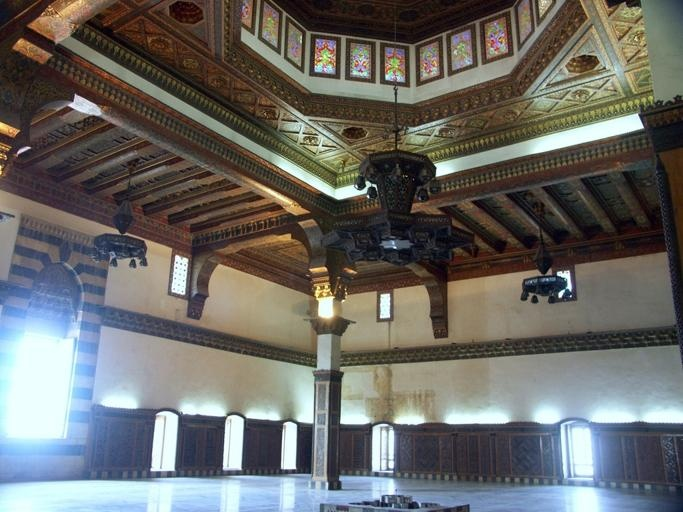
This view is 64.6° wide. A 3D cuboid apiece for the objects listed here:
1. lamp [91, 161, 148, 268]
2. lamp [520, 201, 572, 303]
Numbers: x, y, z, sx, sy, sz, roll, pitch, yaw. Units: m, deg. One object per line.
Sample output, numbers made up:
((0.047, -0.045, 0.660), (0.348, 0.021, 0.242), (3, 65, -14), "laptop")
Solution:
((-5.581, -1.274, 13.849), (1.271, 2.586, 1.105), (4, -7, -12), "lamp")
((5.485, -0.177, 14.790), (1.193, 2.512, 0.982), (-3, -14, 18), "lamp")
